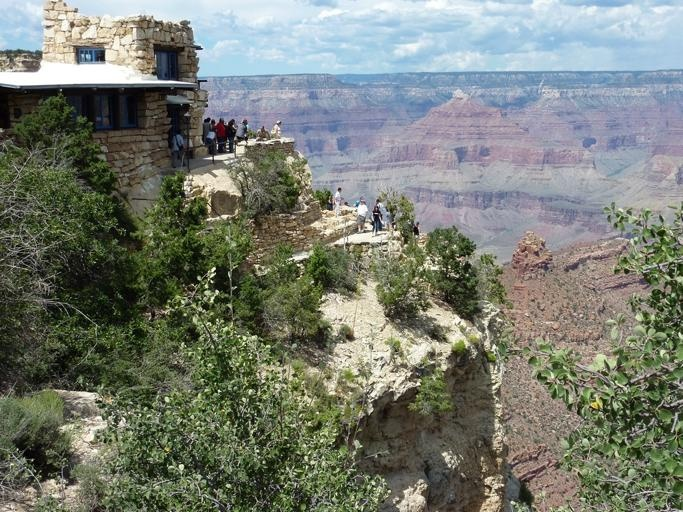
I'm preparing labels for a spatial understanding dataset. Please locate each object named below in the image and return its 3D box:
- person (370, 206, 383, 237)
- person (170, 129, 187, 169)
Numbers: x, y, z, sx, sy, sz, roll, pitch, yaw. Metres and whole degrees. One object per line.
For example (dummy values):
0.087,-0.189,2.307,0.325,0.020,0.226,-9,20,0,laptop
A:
1.726,-1.759,32.975,0.442,1.696,1.049,9,33,13,person
-6.930,-4.522,28.636,0.526,1.378,2.644,-5,35,-8,person
